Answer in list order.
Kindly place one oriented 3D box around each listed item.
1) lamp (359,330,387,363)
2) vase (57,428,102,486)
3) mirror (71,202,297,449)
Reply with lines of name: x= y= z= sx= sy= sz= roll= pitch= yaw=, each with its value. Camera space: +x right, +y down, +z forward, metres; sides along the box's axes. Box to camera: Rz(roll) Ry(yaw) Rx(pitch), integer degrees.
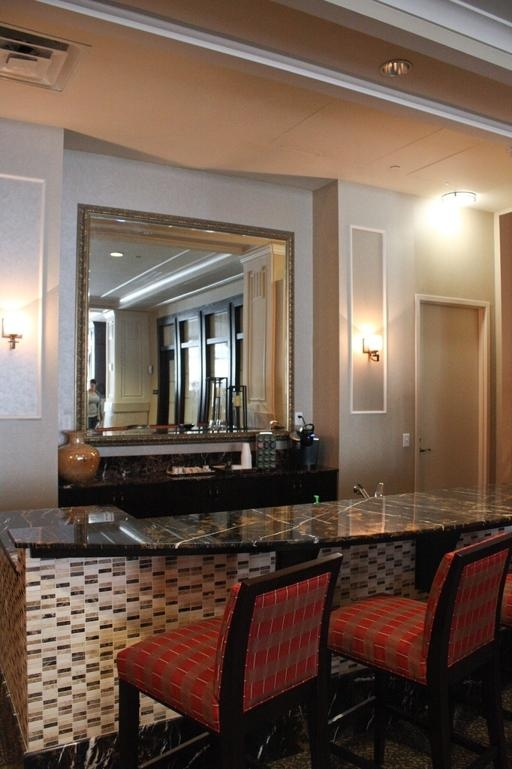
lamp: x=1.058 y=-0.347 z=5.352 sx=0.219 sy=0.421 sz=0.254 roll=-1 pitch=2 yaw=-45
vase: x=-1.207 y=0.495 z=4.079 sx=0.320 sy=0.384 sz=0.308 roll=-1 pitch=-12 yaw=-4
mirror: x=-0.642 y=-0.476 z=4.785 sx=2.069 sy=2.116 sz=0.091 roll=-1 pitch=1 yaw=-30
